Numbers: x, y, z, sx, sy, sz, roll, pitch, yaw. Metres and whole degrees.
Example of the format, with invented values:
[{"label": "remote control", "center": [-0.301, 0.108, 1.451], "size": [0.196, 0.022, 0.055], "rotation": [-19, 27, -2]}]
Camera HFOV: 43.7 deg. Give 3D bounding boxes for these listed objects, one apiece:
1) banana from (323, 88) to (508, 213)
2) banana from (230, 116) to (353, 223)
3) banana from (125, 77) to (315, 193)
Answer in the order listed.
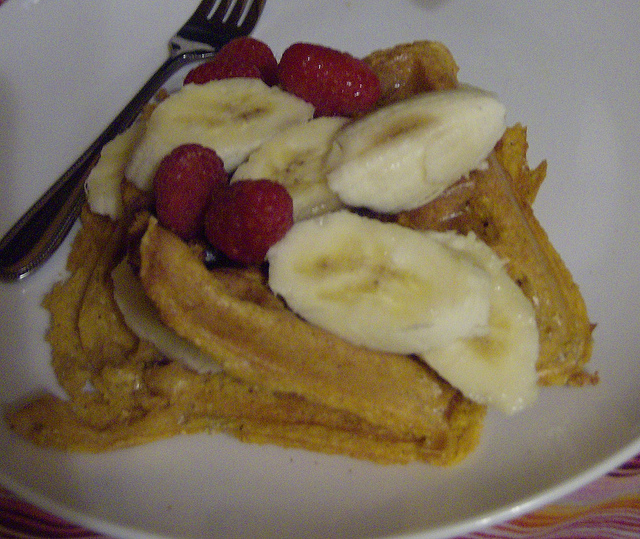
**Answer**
[{"label": "banana", "center": [0.169, -0.217, 1.434], "size": [0.330, 0.111, 0.173], "rotation": [-7, 70, -6]}, {"label": "banana", "center": [-0.048, -0.183, 1.450], "size": [0.192, 0.035, 0.155], "rotation": [-27, 80, 0]}, {"label": "banana", "center": [-0.192, -0.279, 1.470], "size": [0.299, 0.221, 0.157], "rotation": [-20, 34, -29]}]
